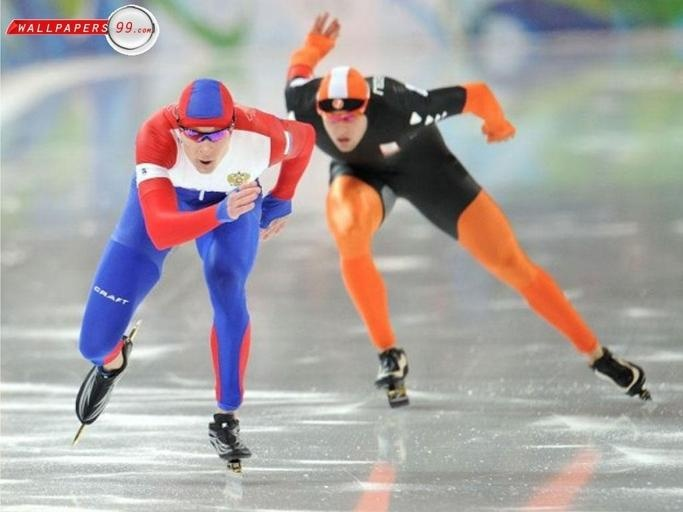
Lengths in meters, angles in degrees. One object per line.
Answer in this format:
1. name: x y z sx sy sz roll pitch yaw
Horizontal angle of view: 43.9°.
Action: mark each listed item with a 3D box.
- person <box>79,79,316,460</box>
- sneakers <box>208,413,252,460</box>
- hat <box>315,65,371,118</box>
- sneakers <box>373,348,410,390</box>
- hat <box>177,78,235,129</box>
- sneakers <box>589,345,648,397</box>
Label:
1. person: -0.609 0.083 3.459 0.978 1.508 0.759 -1 -10 2
2. sneakers: -0.475 0.742 3.547 0.112 0.128 0.285 -9 10 -22
3. hat: 0.001 -0.778 3.787 0.303 0.200 0.382 3 28 8
4. sneakers: 0.222 0.467 3.655 0.109 0.152 0.169 -2 27 30
5. hat: -0.543 -0.607 3.366 0.262 0.187 0.245 1 15 -10
6. sneakers: 1.319 0.558 4.054 0.358 0.118 0.106 32 57 15
